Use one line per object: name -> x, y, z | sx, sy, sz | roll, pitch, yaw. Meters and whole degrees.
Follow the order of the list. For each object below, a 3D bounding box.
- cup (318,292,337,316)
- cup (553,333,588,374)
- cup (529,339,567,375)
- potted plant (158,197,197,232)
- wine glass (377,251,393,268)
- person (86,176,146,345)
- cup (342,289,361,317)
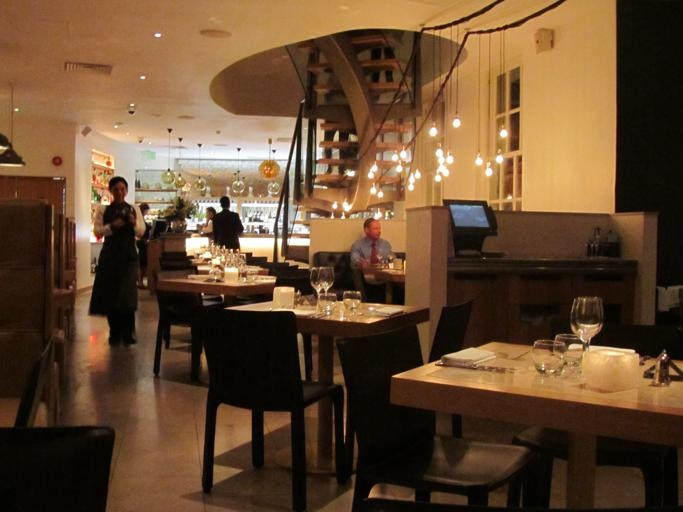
cup -> -0.087, 0.286, 3.770 | 0.109, 0.135, 0.120 | 1, -4, -4
cup -> 0.946, 0.392, 2.581 | 0.134, 0.154, 0.142 | 0, 3, 0
cup -> 0.831, 0.402, 2.560 | 0.121, 0.144, 0.122 | 0, -2, 0
potted plant -> -3.083, -0.777, 11.833 | 0.615, 0.699, 0.663 | 2, 3, 15
wine glass -> 0.554, 0.028, 8.014 | 0.120, 0.195, 0.187 | 1, 14, -3
person -> -2.500, 0.068, 7.031 | 0.591, 1.882, 0.590 | -2, 5, -18
cup -> 0.066, 0.287, 3.781 | 0.122, 0.144, 0.126 | -1, -1, 0
